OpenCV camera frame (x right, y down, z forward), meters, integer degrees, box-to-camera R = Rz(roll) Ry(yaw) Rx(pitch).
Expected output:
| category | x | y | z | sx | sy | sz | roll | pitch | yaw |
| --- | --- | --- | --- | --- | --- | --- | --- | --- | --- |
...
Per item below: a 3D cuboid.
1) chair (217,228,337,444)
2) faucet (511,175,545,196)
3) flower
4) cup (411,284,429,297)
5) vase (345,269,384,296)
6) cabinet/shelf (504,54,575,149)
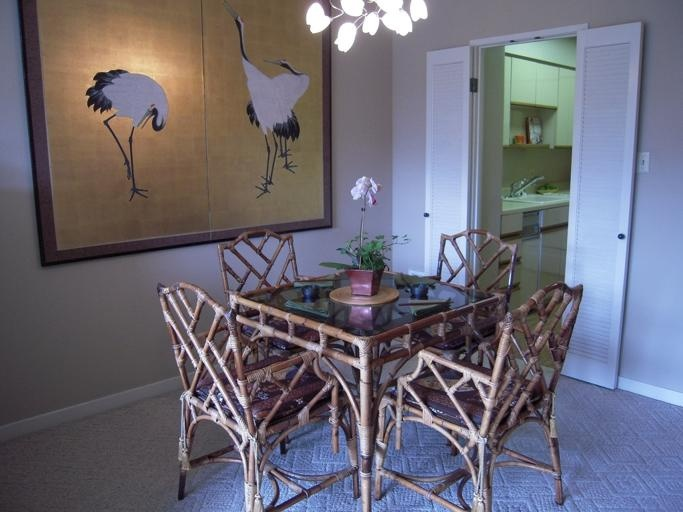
| category | x | y | z | sx | sy | sz | roll | pitch | yaw |
| --- | --- | --- | --- | --- | --- | --- | --- | --- | --- |
| chair | -0.597 | 0.205 | 3.774 | 0.663 | 1.225 | 0.704 | -11 | 14 | -38 |
| faucet | 2.165 | -0.832 | 6.169 | 0.485 | 0.215 | 0.133 | -21 | 21 | -35 |
| flower | 0.212 | -0.294 | 4.003 | 0.565 | 0.741 | 0.443 | 7 | 18 | 28 |
| cup | 0.412 | 0.175 | 2.770 | 0.065 | 0.048 | 0.069 | 2 | 2 | 0 |
| vase | 0.110 | 0.126 | 2.737 | 0.157 | 0.127 | 0.138 | 0 | 0 | 43 |
| cabinet/shelf | 2.259 | -1.756 | 6.027 | 0.367 | 0.946 | 1.527 | 10 | 17 | 39 |
